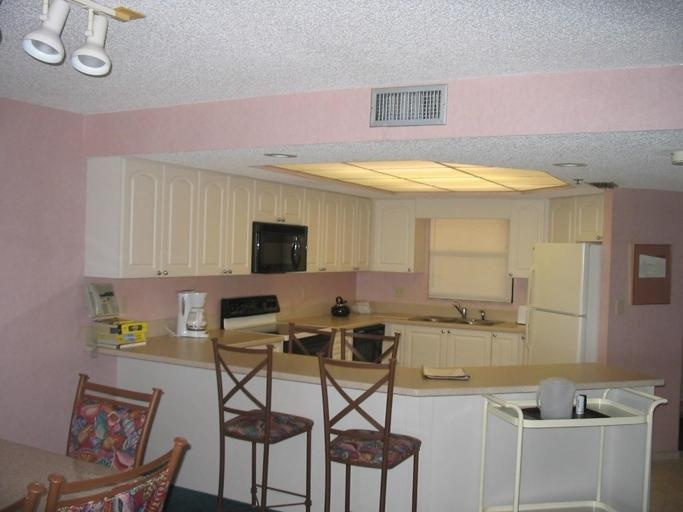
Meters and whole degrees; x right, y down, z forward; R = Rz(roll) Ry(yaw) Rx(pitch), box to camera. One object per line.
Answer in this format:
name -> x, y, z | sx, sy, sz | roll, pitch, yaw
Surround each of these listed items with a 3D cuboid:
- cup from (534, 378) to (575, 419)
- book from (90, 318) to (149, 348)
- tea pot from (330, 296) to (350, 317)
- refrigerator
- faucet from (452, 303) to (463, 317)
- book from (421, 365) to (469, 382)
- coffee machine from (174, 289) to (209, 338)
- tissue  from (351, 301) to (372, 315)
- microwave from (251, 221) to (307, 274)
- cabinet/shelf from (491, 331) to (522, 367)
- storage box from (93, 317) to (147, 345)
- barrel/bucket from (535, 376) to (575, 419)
cup -> 1.310, 0.882, 3.382 | 0.253, 0.184, 0.191 | -5, -14, 37
book -> -1.739, 0.608, 4.389 | 0.307, 0.150, 0.287 | 2, 1, 34
tea pot -> -0.012, 0.630, 6.943 | 0.215, 0.242, 0.338 | 1, 0, 0
refrigerator -> 2.060, 0.461, 5.037 | 0.444, 1.069, 0.884 | 1, 0, 4
faucet -> 1.453, 0.669, 6.921 | 0.070, 0.086, 0.138 | 6, 36, -13
book -> 0.711, 0.791, 3.770 | 0.317, 0.078, 0.304 | 0, -1, 10
coffee machine -> -1.320, 0.508, 4.898 | 0.286, 0.406, 0.168 | 1, 0, 35
tissue  -> 0.262, 0.683, 7.293 | 0.219, 0.095, 0.182 | -1, 2, -27
microwave -> -0.768, -0.057, 5.586 | 0.445, 0.462, 0.828 | 2, 0, 31
cabinet/shelf -> 1.911, 1.089, 6.396 | 0.425, 0.392, 0.386 | 3, -10, 5
storage box -> -1.772, 0.588, 4.418 | 0.292, 0.142, 0.273 | 2, 1, 35
barrel/bucket -> 1.308, 0.877, 3.379 | 0.260, 0.178, 0.187 | -1, -9, 29
